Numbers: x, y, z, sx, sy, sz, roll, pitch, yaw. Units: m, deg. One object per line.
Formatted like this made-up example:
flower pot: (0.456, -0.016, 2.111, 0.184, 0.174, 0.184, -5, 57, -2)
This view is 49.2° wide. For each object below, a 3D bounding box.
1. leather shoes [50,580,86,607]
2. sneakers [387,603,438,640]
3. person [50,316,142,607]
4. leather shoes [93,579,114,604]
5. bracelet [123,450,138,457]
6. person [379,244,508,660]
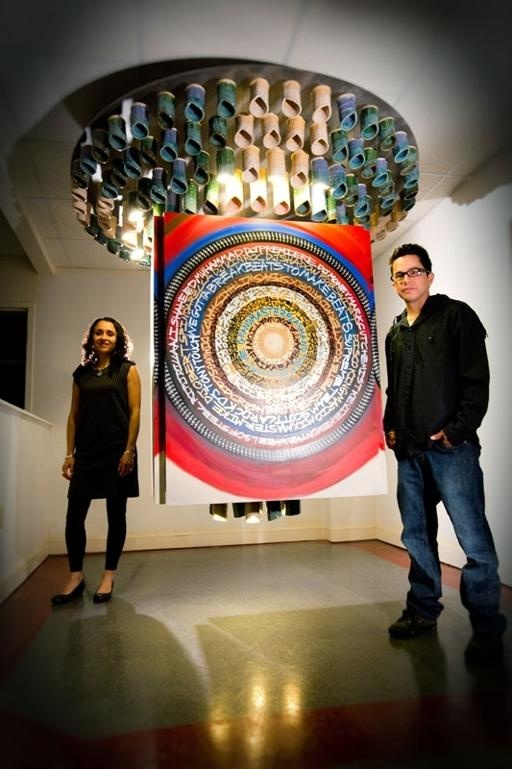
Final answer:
leather shoes: (-0.845, 0.946, 2.493, 0.055, 0.057, 0.147, -4, -16, 13)
sneakers: (0.535, 0.826, 1.914, 0.203, 0.133, 0.068, 6, -20, -20)
person: (-0.774, 0.318, 2.731, 0.371, 1.344, 0.422, 1, -8, -17)
leather shoes: (-0.687, 0.937, 2.496, 0.049, 0.035, 0.123, 0, 0, -3)
bracelet: (-0.600, 0.322, 2.621, 0.051, 0.035, 0.037, 1, -8, -19)
person: (0.608, 0.167, 1.973, 0.434, 1.387, 0.374, -6, -9, 34)
